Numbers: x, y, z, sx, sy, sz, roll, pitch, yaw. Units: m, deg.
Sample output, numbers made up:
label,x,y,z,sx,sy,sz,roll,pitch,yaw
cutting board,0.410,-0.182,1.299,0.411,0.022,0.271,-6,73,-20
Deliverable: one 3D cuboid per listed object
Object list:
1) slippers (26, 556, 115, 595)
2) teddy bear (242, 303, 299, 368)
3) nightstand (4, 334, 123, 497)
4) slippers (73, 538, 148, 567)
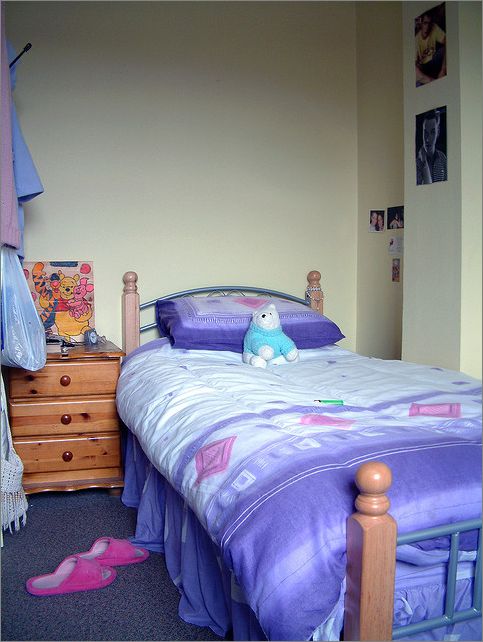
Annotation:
label,x,y,z,sx,sy,sz,roll,pitch,yaw
slippers,-0.487,0.711,1.463,0.153,0.047,0.090,-2,0,-19
teddy bear,0.108,0.081,2.190,0.201,0.261,0.279,3,8,10
nightstand,-0.655,0.373,2.423,0.596,0.752,0.582,-2,4,-15
slippers,-0.402,0.708,1.612,0.155,0.044,0.084,-1,7,-21
